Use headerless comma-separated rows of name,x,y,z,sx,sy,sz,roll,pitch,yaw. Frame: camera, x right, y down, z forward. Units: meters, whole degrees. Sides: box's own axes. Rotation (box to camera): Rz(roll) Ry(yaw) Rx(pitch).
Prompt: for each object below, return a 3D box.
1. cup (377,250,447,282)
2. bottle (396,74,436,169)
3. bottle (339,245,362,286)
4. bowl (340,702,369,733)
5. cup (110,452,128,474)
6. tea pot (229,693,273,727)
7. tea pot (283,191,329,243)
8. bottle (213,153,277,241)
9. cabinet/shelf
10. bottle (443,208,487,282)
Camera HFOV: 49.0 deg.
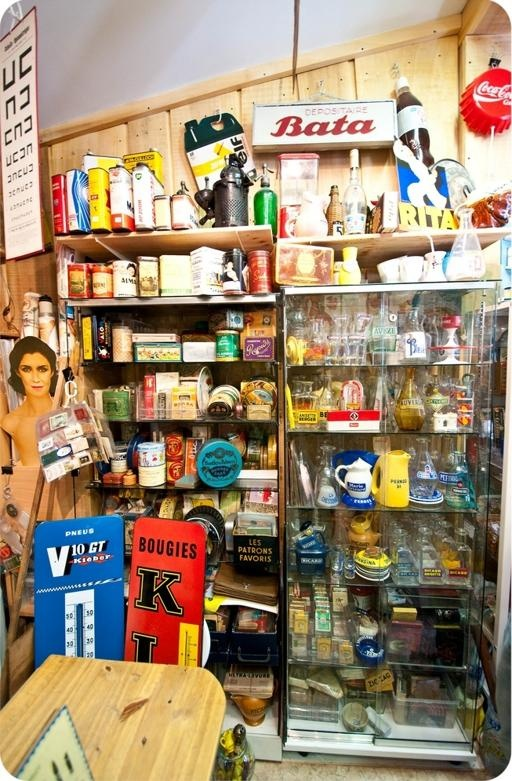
cup,0.555,-0.433,1.985,0.240,0.102,0.140,-1,13,16
bottle,0.616,-1.044,2.189,0.136,0.354,0.141,-4,11,1
bottle,0.344,-0.466,2.077,0.074,0.131,0.272,-2,13,9
bowl,0.362,1.199,2.062,0.098,0.045,0.099,-5,13,1
cup,-0.534,0.281,2.195,0.071,0.093,0.076,0,-4,0
tea pot,-0.017,1.156,2.035,0.102,0.141,0.078,-11,4,0
tea pot,0.191,-0.630,2.056,0.197,0.207,0.133,10,15,42
bottle,-0.053,-0.716,2.085,0.283,0.323,0.211,0,7,-8
cabinet/shelf,0.142,0.397,1.993,1.708,1.965,0.592,0,3,12
bottle,0.732,-0.517,1.979,0.122,0.248,0.180,0,13,22
